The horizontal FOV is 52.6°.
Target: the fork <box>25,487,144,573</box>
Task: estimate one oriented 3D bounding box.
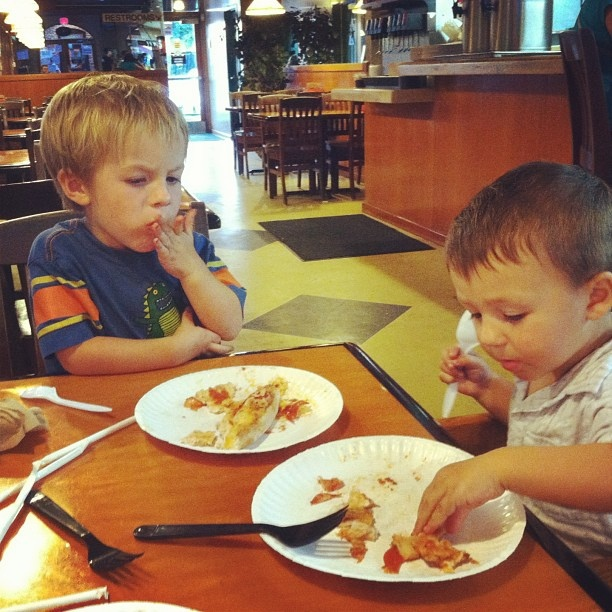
[{"bbox_3d":[-0.223,0.225,0.614,0.048,0.023,0.180,-28,29,-32],"label":"fork"}]

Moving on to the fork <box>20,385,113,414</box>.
[{"bbox_3d":[-0.352,0.123,0.900,0.153,0.006,0.050,6,17,33],"label":"fork"}]

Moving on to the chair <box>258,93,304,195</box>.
[{"bbox_3d":[-0.155,-1.777,7.130,0.665,1.116,1.038,-7,15,-4],"label":"chair"}]

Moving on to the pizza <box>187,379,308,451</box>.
[{"bbox_3d":[-0.085,0.143,0.855,0.115,0.015,0.096,-13,15,-35],"label":"pizza"}]
